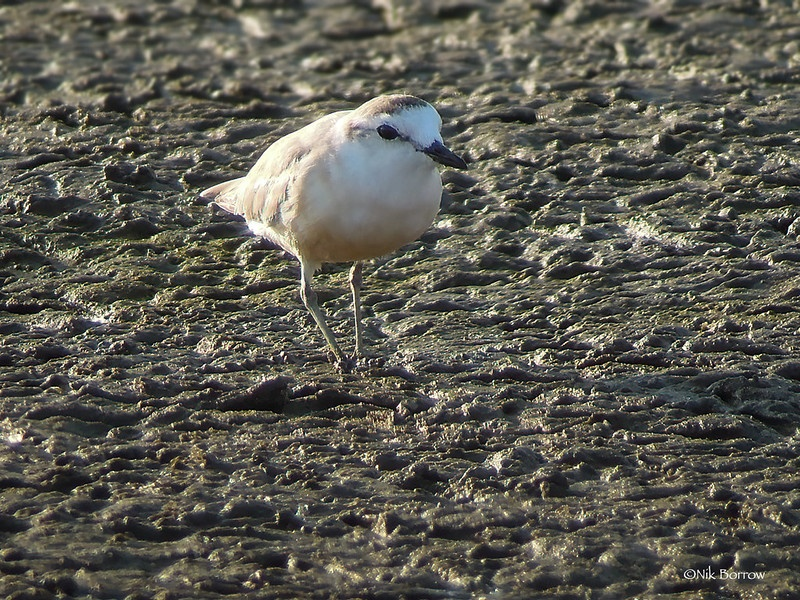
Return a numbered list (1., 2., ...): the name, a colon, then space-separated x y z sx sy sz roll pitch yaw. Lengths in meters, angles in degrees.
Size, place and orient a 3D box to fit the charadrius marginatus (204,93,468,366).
1. charadrius marginatus: -0.405 -0.535 7.804 1.029 1.788 1.556 -28 25 -28
